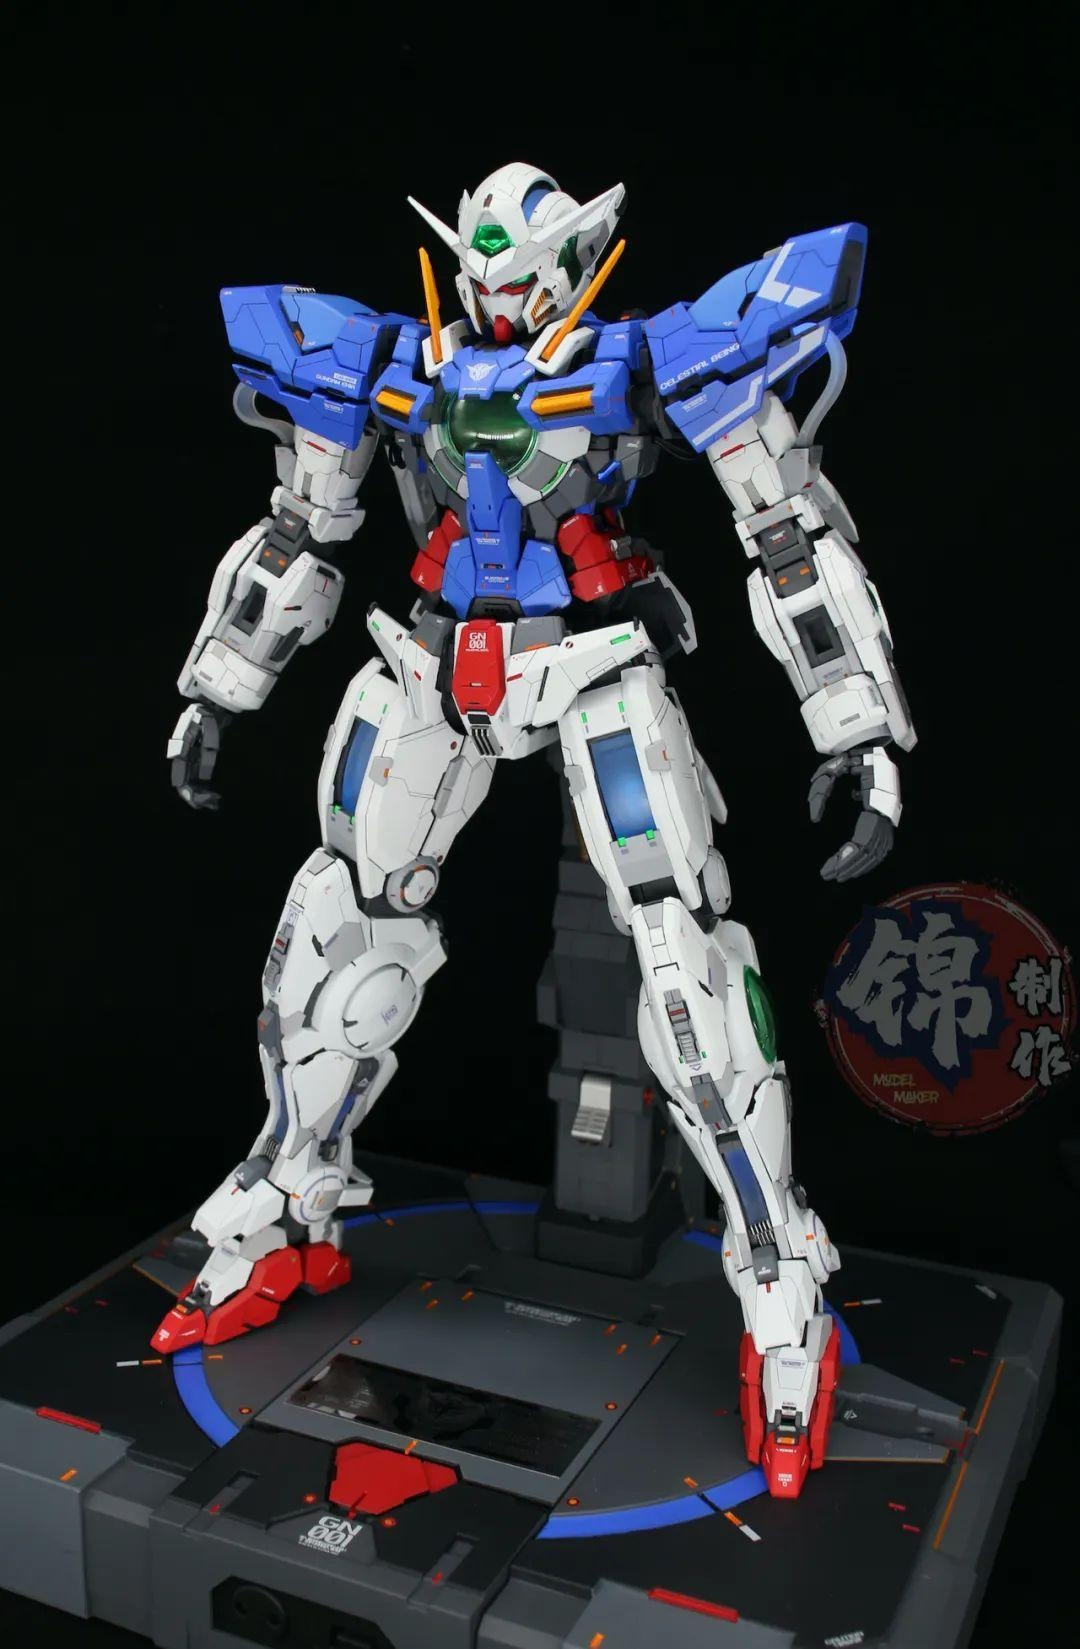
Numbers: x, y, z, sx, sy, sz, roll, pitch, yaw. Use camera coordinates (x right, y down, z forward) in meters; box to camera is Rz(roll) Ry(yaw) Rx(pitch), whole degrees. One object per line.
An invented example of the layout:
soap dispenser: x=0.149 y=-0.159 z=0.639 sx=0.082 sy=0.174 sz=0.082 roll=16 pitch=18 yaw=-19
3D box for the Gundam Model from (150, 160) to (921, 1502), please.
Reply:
Gundam Model: x=-0.038 y=-0.009 z=2.919 sx=1.579 sy=2.557 sz=0.463 roll=4 pitch=8 yaw=28
